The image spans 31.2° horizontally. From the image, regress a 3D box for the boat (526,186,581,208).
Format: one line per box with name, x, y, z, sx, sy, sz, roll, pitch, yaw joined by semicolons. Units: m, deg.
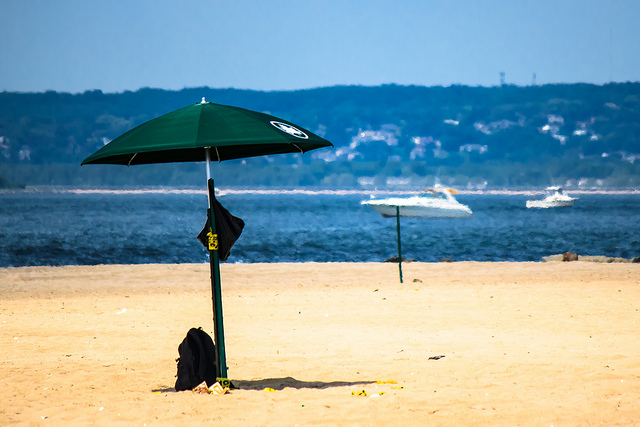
boat;36.675;-2.579;183.037;5.809;3.070;7.561;0;2;21
